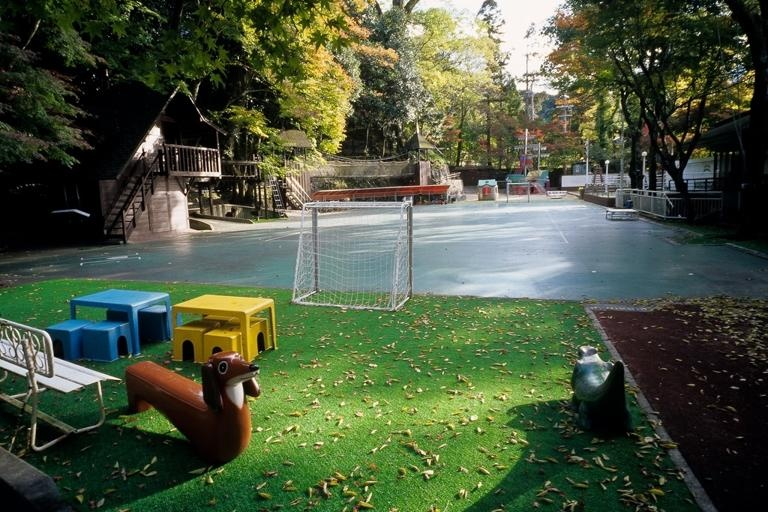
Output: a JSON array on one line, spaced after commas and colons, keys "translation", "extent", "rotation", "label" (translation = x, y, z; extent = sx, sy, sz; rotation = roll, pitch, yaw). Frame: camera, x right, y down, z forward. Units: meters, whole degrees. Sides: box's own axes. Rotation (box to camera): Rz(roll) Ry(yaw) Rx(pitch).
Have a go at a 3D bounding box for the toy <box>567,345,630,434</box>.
[{"translation": [2.316, 1.420, 4.907], "extent": [0.507, 0.811, 0.645], "rotation": [-2, 6, 4], "label": "toy"}]
